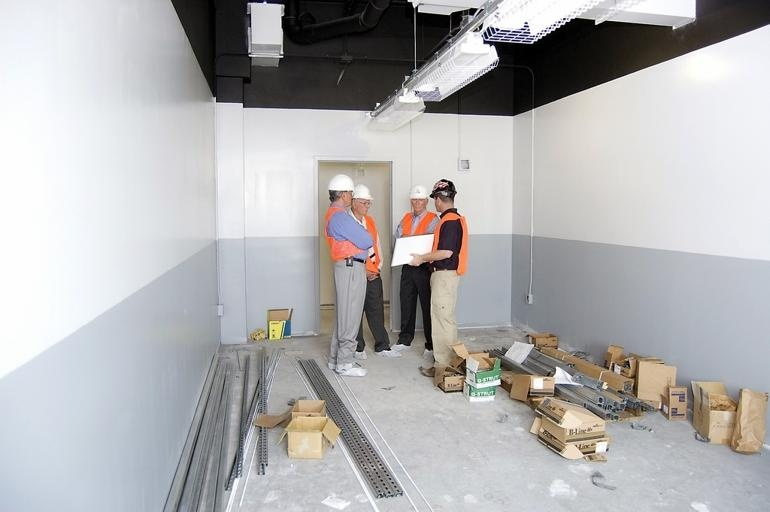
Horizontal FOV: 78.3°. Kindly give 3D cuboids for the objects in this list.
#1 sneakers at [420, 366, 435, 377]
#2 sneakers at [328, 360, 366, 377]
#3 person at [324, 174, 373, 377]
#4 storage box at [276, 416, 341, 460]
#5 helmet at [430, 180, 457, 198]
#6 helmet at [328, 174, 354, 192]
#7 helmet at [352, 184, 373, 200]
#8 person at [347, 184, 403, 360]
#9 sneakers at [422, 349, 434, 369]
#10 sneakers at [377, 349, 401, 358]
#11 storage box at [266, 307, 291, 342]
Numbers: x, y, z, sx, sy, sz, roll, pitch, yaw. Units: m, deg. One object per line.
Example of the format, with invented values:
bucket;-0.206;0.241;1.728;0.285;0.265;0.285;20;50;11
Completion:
sneakers;0.471;1.275;5.279;0.069;0.086;0.206;1;4;-30
sneakers;-0.413;1.258;5.284;0.426;0.197;0.160;1;2;-2
person;-0.398;0.214;5.225;0.464;2.180;0.548;-4;11;-20
storage box;-0.576;1.404;3.668;0.391;0.194;0.286;0;-3;-2
helmet;0.646;-0.756;5.416;0.215;0.169;0.293;2;5;-10
helmet;-0.480;-0.790;5.214;0.210;0.150;0.220;0;8;-4
helmet;-0.279;-0.740;5.440;0.154;0.118;0.202;-2;6;-30
person;-0.186;0.243;5.702;0.695;2.248;0.443;-10;24;-20
sneakers;0.513;1.228;5.619;0.177;0.237;0.569;0;-4;3
sneakers;0.052;1.177;5.808;0.193;0.062;0.106;2;1;20
storage box;-1.476;0.967;6.587;0.388;0.486;0.166;1;-1;-23
